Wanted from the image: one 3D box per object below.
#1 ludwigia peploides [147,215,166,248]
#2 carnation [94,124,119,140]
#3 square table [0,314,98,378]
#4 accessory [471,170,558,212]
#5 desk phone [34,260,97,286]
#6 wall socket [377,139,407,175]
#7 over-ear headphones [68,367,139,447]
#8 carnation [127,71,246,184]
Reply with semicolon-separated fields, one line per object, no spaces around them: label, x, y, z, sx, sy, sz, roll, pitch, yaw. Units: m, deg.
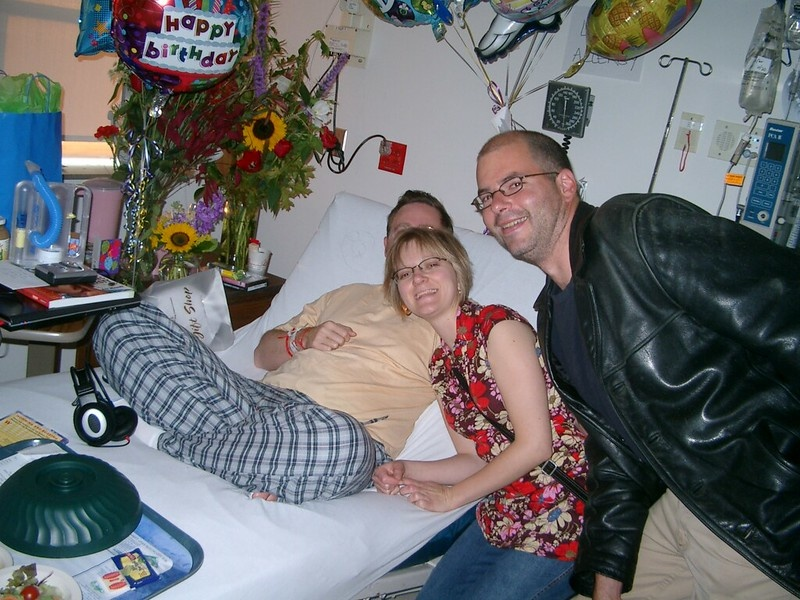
ludwigia peploides;-1.097;-0.318;2.515;0.053;0.119;0.120;23;-37;1
carnation;-1.329;-0.786;2.494;0.080;0.041;0.083;-5;26;-7
square table;-1.308;0.175;2.017;0.204;0.280;0.210;-14;34;-43
accessory;0.328;-0.362;1.785;0.157;0.038;0.161;-28;14;-22
desk phone;-1.065;-0.086;1.721;0.108;0.028;0.111;14;12;25
wall socket;-0.031;-0.817;3.127;0.190;0.187;0.052;16;12;29
over-ear headphones;-0.905;0.340;1.675;0.206;0.102;0.165;49;-5;30
carnation;-0.913;-0.818;2.415;0.181;0.496;0.458;15;9;38
